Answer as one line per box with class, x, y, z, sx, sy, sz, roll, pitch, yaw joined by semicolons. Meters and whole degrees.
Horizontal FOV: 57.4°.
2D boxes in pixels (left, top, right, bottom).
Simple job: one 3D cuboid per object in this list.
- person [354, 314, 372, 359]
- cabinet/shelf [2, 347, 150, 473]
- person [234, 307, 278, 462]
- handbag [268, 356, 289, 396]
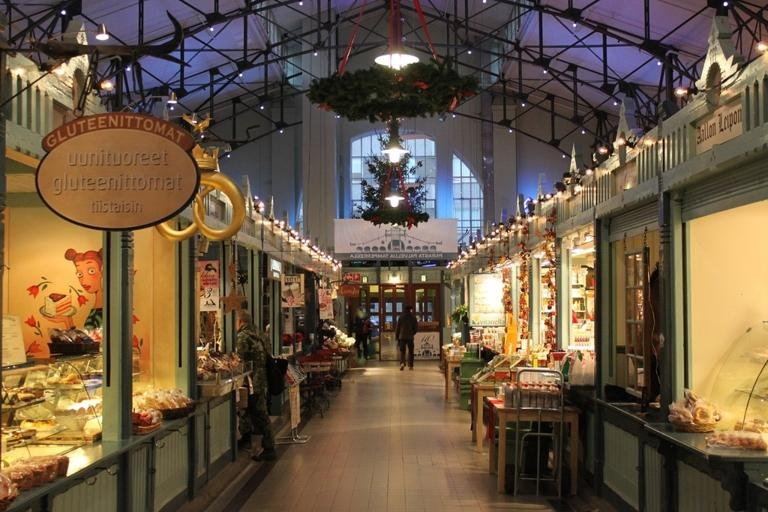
person;-0.703;2.520;22.301;0.433;1.494;1.349;0;-2;-3
cabinet/shelf;-2.870;1.289;6.060;0.301;0.789;1.076;-1;-2;18
person;-1.787;1.755;9.748;0.507;2.022;0.423;0;-1;-12
handbag;-1.517;1.763;10.003;0.347;0.483;0.320;-7;3;10
